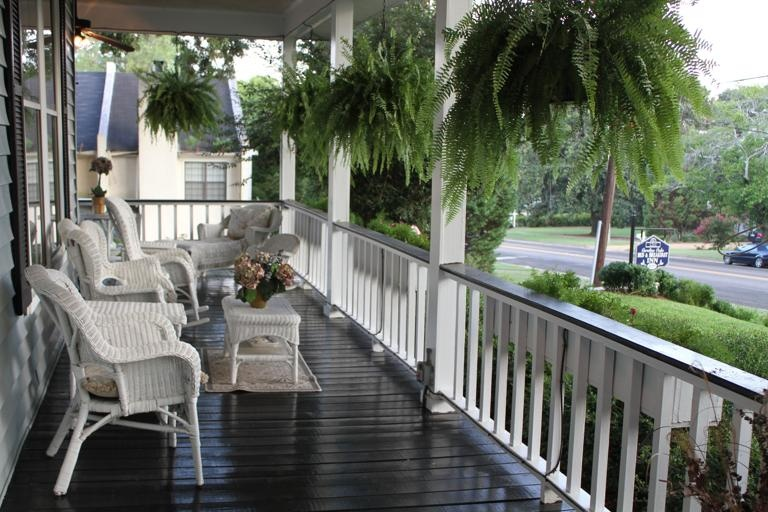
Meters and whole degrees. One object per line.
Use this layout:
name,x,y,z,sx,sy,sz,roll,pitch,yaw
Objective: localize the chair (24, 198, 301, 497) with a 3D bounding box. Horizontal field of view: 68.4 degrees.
chair,-1.474,0.638,3.854,1.228,1.402,1.195,1,9,-14
